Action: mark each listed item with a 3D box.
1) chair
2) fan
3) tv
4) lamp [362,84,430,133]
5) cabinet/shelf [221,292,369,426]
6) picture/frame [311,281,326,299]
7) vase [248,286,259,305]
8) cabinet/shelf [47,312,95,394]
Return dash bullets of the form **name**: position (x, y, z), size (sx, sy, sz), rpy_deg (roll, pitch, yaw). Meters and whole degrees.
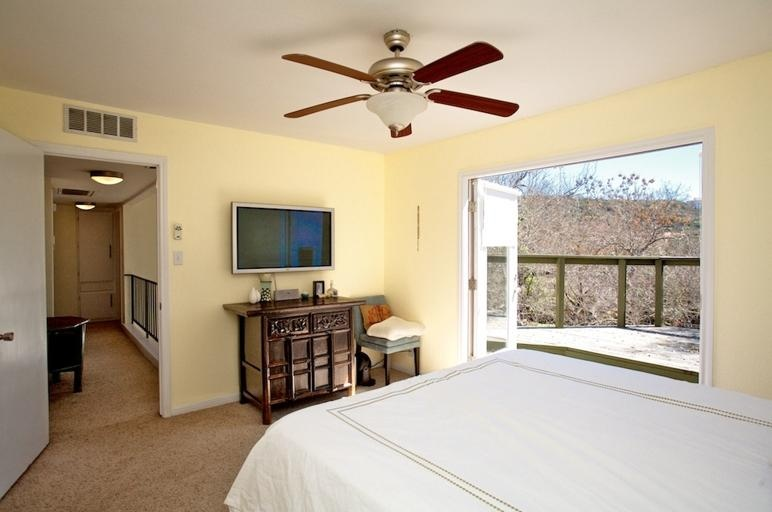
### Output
- **chair**: position (-0.014, 0.983, 5.857), size (0.675, 0.857, 0.584), rpy_deg (7, 9, 40)
- **fan**: position (0.154, -1.256, 3.505), size (1.504, 0.738, 0.885), rpy_deg (1, 11, 13)
- **tv**: position (-1.166, -0.202, 5.366), size (0.870, 0.511, 0.058), rpy_deg (1, -1, -33)
- **lamp**: position (0.079, -1.063, 3.682), size (0.518, 0.285, 0.497), rpy_deg (0, -4, 26)
- **cabinet/shelf**: position (-0.938, 1.030, 5.309), size (1.347, 1.005, 0.791), rpy_deg (-1, -1, -40)
- **picture/frame**: position (-0.784, 0.381, 5.649), size (0.072, 0.189, 0.197), rpy_deg (-3, -4, 33)
- **vase**: position (-1.379, 0.421, 5.247), size (0.144, 0.164, 0.144), rpy_deg (-2, 2, -5)
- **cabinet/shelf**: position (-3.530, 1.123, 5.491), size (0.363, 0.800, 0.568), rpy_deg (-4, 12, -11)
